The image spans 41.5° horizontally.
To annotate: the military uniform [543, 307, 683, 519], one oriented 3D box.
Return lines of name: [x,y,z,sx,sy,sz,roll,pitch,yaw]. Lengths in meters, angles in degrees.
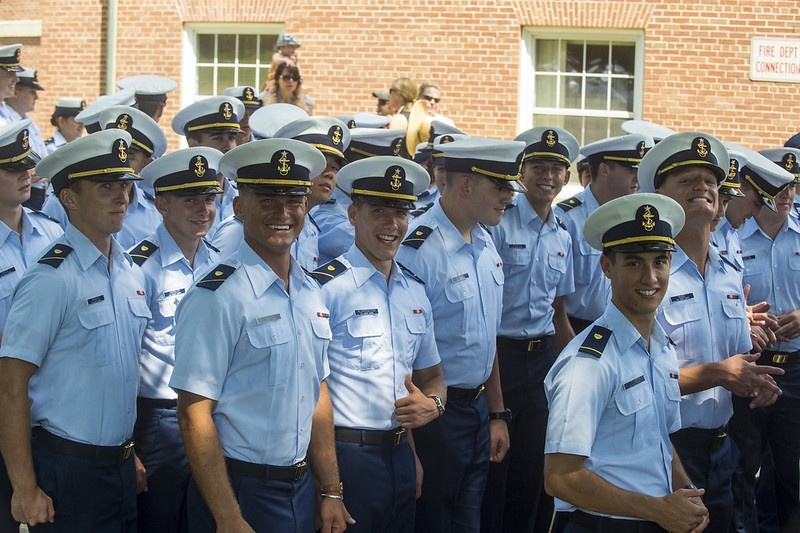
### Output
military uniform: [1.422,1.000,6.955,0.811,1.353,1.496,-6,-9,43]

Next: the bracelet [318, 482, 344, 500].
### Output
bracelet: [-0.459,1.527,7.169,0.134,0.069,0.119,-3,-5,8]

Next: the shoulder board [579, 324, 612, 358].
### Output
shoulder board: [1.275,0.502,6.955,0.168,0.031,0.299,22,44,21]

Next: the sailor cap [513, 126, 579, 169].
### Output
sailor cap: [1.274,-1.004,9.185,0.616,0.267,0.648,1,-3,-3]

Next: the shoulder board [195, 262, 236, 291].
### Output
shoulder board: [-1.187,0.075,6.841,0.220,0.177,0.125,1,0,-43]

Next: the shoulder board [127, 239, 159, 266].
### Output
shoulder board: [-1.937,-0.104,7.971,0.175,0.173,0.054,-37,-24,-28]

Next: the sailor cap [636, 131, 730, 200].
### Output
sailor cap: [2.210,-0.792,8.054,0.673,0.257,0.671,0,-14,0]

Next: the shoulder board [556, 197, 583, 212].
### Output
shoulder board: [1.514,-0.564,9.553,0.183,0.053,0.127,-31,14,-14]

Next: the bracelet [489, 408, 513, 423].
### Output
bracelet: [0.785,1.189,8.375,0.130,0.061,0.129,-6,-10,26]

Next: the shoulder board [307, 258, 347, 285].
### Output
shoulder board: [-0.529,0.047,7.674,0.133,0.026,0.245,33,48,24]

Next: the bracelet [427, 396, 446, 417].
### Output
bracelet: [0.249,1.004,7.642,0.112,0.124,0.115,0,0,-2]
